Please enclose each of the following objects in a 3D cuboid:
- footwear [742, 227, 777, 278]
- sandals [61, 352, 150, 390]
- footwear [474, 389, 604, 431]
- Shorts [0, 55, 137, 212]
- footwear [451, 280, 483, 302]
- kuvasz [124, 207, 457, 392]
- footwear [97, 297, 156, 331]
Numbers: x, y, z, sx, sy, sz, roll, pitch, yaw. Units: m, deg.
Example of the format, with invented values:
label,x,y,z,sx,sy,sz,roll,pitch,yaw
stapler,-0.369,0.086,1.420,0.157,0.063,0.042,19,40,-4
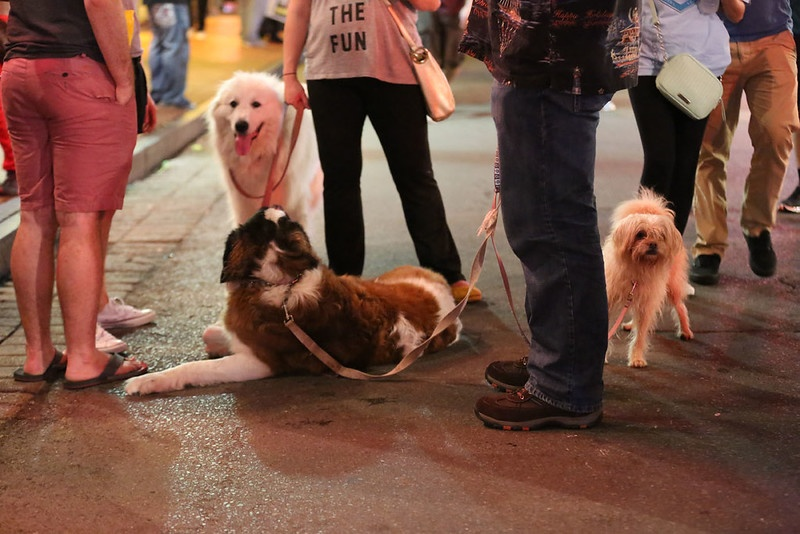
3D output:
label,x,y,z,sx,sy,sz,roll,pitch,yaw
footwear,2.927,-0.122,6.219,0.167,0.187,0.442,-15,37,18
sandals,-1.817,0.626,4.786,0.509,0.151,0.186,-5,13,-30
footwear,0.766,0.765,4.349,0.681,0.282,0.255,4,2,3
Shorts,-1.926,-0.764,4.502,0.735,0.884,0.382,-6,25,-12
footwear,0.476,0.183,5.538,0.211,0.096,0.277,0,1,1
kuvasz,-0.652,0.163,5.114,2.348,0.931,1.251,-6,20,-30
footwear,-1.978,0.352,5.465,0.449,0.173,0.144,-2,9,-28
